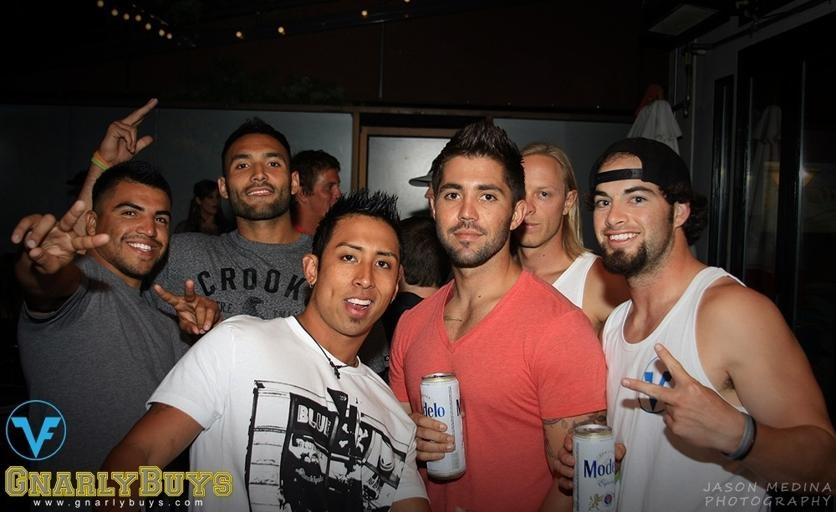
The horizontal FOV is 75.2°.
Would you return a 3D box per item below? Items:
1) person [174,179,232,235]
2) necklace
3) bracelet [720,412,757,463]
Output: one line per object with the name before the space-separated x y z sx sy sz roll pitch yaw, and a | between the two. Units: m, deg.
person | -2.430 -0.544 6.057 0.745 0.614 0.367 1 -3 -19
necklace | -0.555 0.523 3.081 0.143 0.371 0.287 -47 -13 34
bracelet | 1.577 0.896 2.639 0.066 0.190 0.175 -5 -14 12
